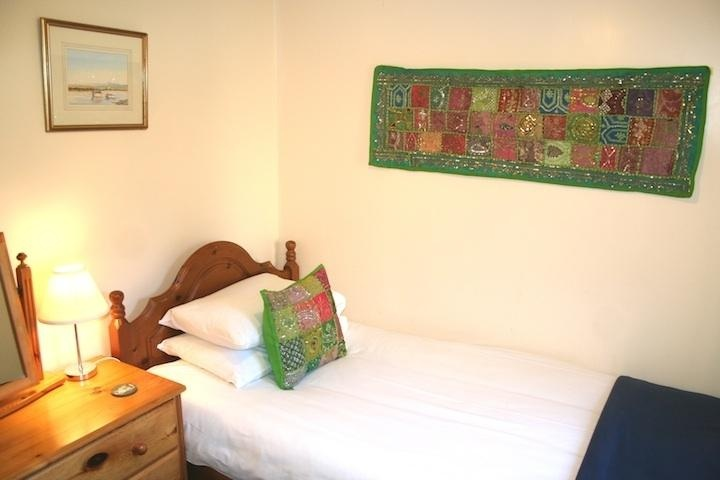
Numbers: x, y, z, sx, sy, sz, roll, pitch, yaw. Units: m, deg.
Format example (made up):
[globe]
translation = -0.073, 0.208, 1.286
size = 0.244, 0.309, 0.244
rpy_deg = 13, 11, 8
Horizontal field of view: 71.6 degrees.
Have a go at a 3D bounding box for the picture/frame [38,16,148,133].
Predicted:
[picture/frame]
translation = -1.419, -0.881, 2.619
size = 0.045, 0.636, 0.669
rpy_deg = 8, 10, 38

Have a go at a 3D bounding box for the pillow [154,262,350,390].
[pillow]
translation = -0.708, 0.526, 2.939
size = 0.642, 0.263, 0.879
rpy_deg = 35, 35, 27
